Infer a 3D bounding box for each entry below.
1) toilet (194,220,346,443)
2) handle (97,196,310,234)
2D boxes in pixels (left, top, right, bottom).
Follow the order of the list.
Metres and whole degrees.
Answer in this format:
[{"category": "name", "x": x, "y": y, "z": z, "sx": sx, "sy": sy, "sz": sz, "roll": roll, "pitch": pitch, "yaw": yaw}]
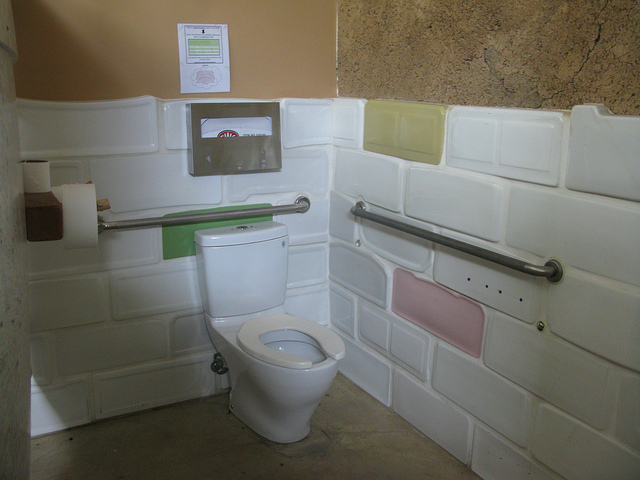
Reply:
[{"category": "toilet", "x": -0.234, "y": 0.438, "z": 2.204, "sx": 0.461, "sy": 0.911, "sz": 0.770, "roll": -8, "pitch": 16, "yaw": -35}, {"category": "handle", "x": -0.612, "y": -0.127, "z": 2.276, "sx": 1.130, "sy": 0.179, "sz": 0.124, "roll": -3, "pitch": -12, "yaw": -21}]
